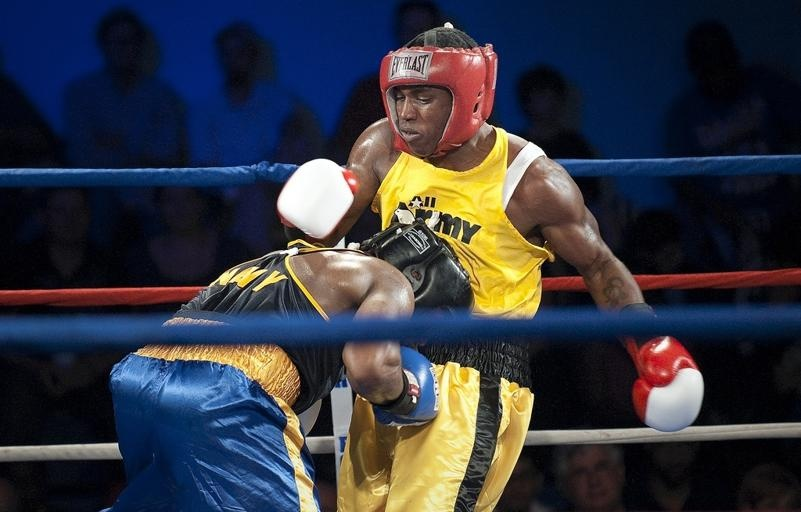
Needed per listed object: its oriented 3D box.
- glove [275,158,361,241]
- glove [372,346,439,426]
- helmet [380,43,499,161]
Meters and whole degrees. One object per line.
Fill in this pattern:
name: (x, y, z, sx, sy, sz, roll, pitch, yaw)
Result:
glove: (-0.350, -0.257, 4.724, 0.266, 0.218, 0.402, 33, 60, 13)
glove: (0.063, 0.569, 4.473, 0.278, 0.292, 0.325, -6, 43, 2)
helmet: (0.180, -0.694, 4.886, 0.552, 0.434, 0.432, 3, -3, -38)
